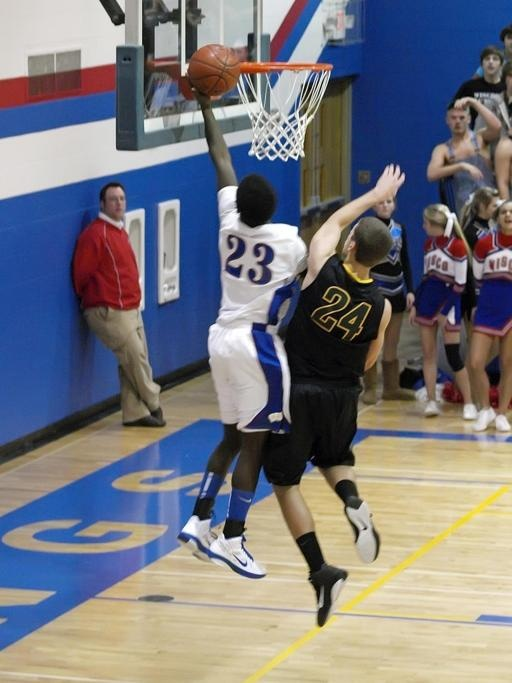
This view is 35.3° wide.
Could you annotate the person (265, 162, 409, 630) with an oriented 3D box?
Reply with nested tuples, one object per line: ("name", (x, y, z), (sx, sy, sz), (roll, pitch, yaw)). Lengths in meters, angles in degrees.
("person", (0.238, 0.193, 2.808), (0.417, 1.487, 0.631), (1, 8, 24))

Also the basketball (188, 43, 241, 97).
("basketball", (-0.159, -1.235, 3.660), (0.213, 0.232, 0.210), (18, 17, 20))

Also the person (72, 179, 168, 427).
("person", (-1.089, -0.272, 6.354), (0.675, 1.970, 0.312), (-4, 7, -18))

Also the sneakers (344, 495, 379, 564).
("sneakers", (0.363, 0.631, 2.689), (0.097, 0.245, 0.102), (-11, 9, 16))

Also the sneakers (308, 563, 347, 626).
("sneakers", (0.239, 0.850, 2.655), (0.121, 0.232, 0.187), (-1, 7, 3))
